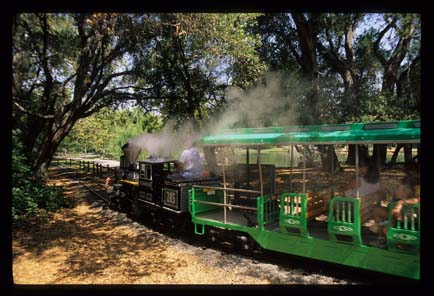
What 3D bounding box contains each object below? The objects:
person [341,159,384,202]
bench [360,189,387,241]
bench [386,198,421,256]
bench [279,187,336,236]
[{"bbox_3d":[4.546,1.012,8.959,1.541,1.473,0.777,-1,4,-31],"label":"person"},{"bbox_3d":[4.053,1.641,7.482,0.576,0.906,1.885,0,7,31],"label":"bench"},{"bbox_3d":[4.007,1.647,6.260,0.605,1.196,0.995,0,7,31],"label":"bench"},{"bbox_3d":[2.970,1.795,8.410,0.828,1.123,3.382,1,-3,41],"label":"bench"}]
